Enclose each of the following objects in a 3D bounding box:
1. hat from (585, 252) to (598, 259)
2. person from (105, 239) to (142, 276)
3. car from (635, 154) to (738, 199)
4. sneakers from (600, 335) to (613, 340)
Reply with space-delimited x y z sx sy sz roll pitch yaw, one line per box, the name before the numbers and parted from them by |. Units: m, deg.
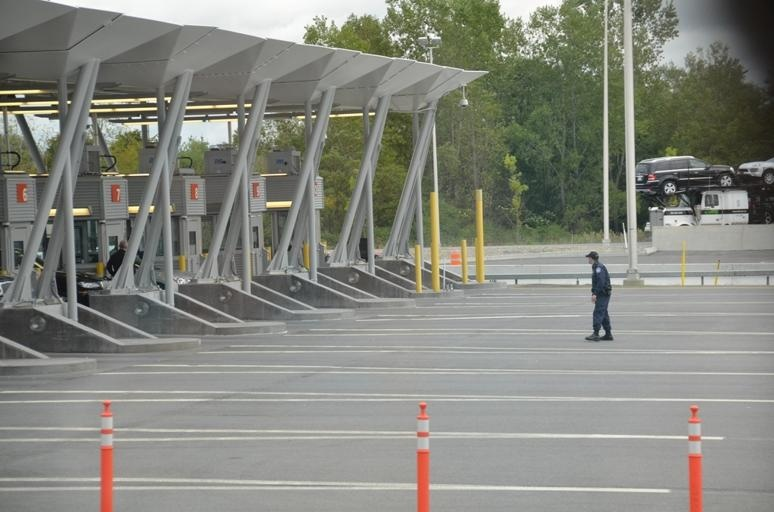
hat | 7.489 0.007 65.007 0.516 0.256 0.329 16 7 15
person | -9.410 0.066 63.148 1.007 1.900 0.630 12 17 9
car | 16.235 -4.146 96.900 5.473 1.958 2.403 -4 5 6
sneakers | 7.155 2.677 58.034 0.392 0.173 0.260 0 -1 6
